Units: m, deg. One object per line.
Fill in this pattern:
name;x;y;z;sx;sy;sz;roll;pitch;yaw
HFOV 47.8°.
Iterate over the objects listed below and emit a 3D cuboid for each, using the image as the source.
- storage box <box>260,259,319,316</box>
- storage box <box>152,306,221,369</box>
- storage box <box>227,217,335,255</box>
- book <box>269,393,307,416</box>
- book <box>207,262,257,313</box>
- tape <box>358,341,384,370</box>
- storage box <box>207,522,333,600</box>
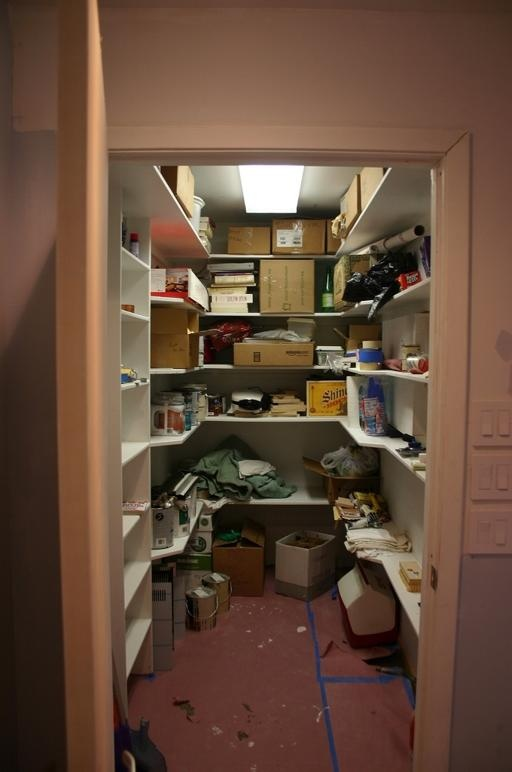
storage box;0.179;-0.568;3.326;0.302;0.314;0.078;-1;4;-11
storage box;-0.365;-0.227;2.728;0.304;0.301;0.356;-3;5;-24
storage box;0.159;-0.857;3.356;0.644;0.204;0.085;0;4;8
book;0.184;0.121;3.432;0.166;0.092;0.128;0;0;0
book;-0.134;-0.552;3.519;0.344;0.371;0.280;0;0;-2
tape;0.534;-0.130;2.686;0.125;0.131;0.131;0;-5;9
storage box;0.103;0.940;3.180;0.470;0.239;0.362;0;-1;4
